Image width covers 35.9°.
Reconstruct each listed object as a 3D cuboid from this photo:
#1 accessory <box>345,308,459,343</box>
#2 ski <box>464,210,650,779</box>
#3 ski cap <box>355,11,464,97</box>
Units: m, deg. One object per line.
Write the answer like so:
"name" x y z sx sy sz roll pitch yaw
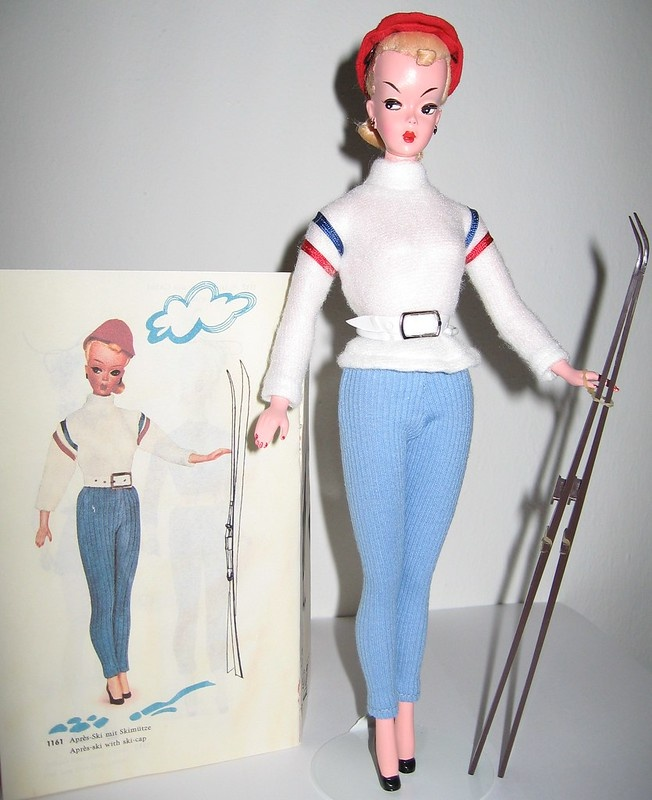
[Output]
"accessory" 0.167 -0.166 2.172 0.234 0.072 0.127 3 15 1
"ski" 0.627 0.221 2.798 0.184 1.478 0.235 17 14 -1
"ski cap" 0.177 -0.763 2.199 0.226 0.186 0.200 6 15 13
